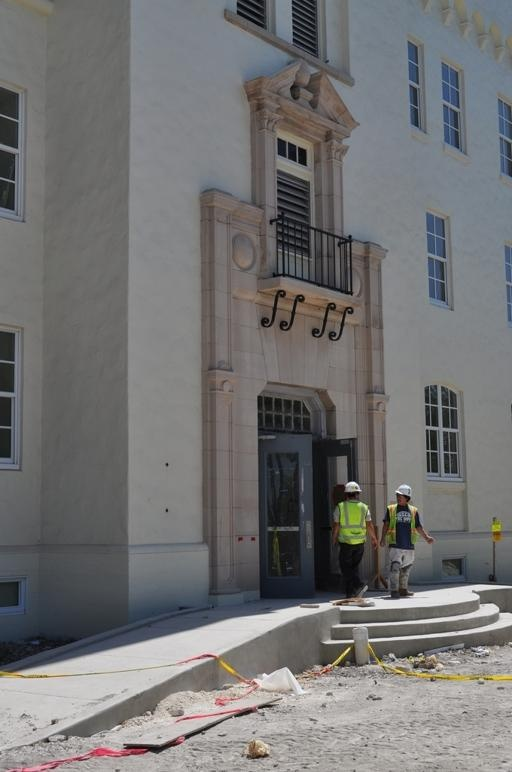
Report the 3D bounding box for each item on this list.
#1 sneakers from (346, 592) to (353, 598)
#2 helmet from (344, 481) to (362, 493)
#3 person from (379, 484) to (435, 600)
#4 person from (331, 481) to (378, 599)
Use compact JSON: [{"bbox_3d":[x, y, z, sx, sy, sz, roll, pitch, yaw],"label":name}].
[{"bbox_3d":[1.224,2.791,11.768,0.071,0.151,0.077,4,-12,-3],"label":"sneakers"},{"bbox_3d":[1.285,1.376,11.907,0.168,0.156,0.241,-2,-8,1],"label":"helmet"},{"bbox_3d":[2.122,2.242,12.865,0.673,1.567,2.241,-2,-8,8],"label":"person"},{"bbox_3d":[1.262,2.076,11.839,0.536,1.560,0.819,-3,-7,14],"label":"person"}]
